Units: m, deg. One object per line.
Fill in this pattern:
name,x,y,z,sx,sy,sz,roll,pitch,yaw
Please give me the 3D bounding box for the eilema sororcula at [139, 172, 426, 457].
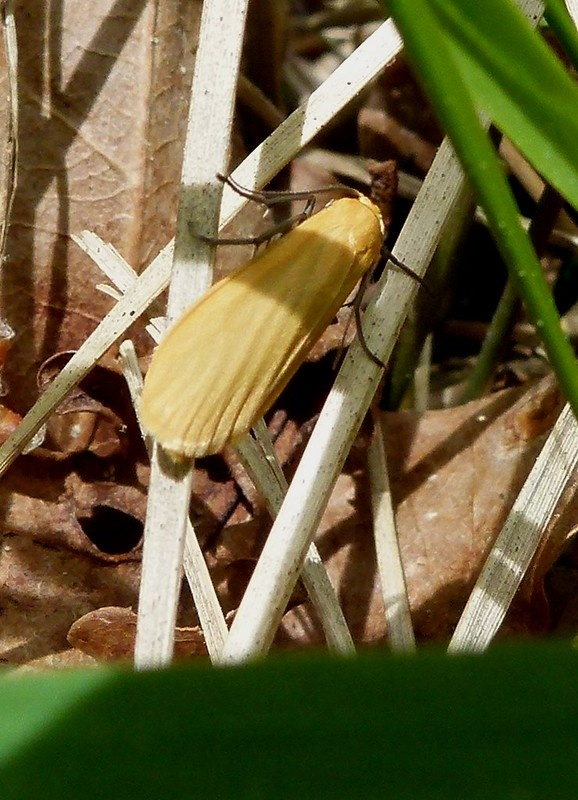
eilema sororcula,-0.059,-0.096,1.590,0.351,0.132,0.476,39,62,-5
